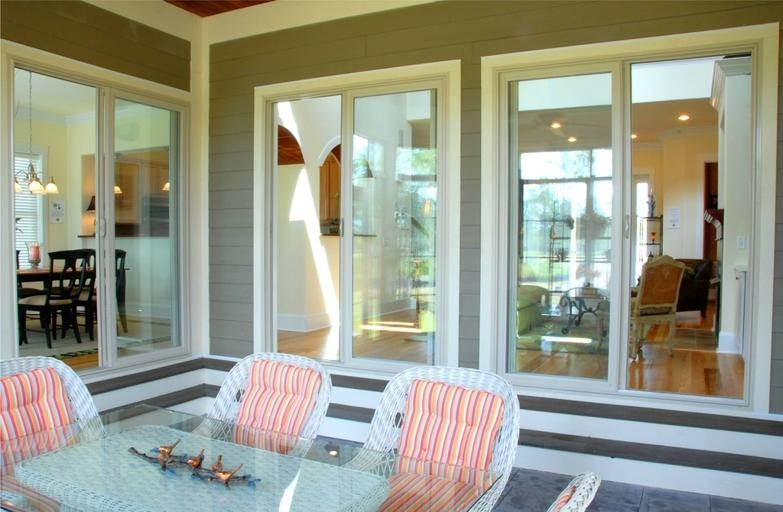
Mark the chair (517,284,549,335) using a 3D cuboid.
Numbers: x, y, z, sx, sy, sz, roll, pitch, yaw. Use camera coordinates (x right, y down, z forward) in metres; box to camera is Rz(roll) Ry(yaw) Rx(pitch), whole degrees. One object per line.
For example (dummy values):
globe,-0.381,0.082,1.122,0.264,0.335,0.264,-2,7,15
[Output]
chair,1.218,0.476,4.813,0.343,0.408,0.163,4,6,-22
